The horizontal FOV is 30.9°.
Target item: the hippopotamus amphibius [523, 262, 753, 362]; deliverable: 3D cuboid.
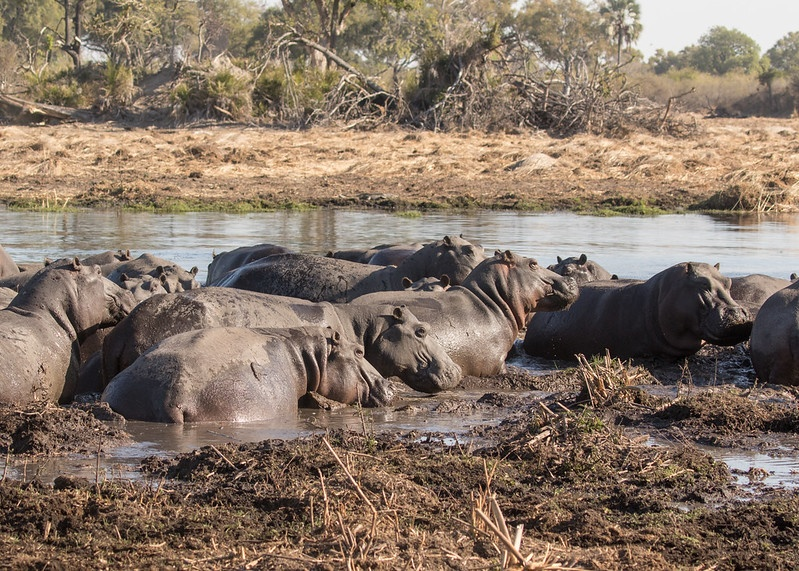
[{"bbox_3d":[4.026,0.539,23.836,1.695,1.636,4.333,-4,2,-38],"label":"hippopotamus amphibius"}]
